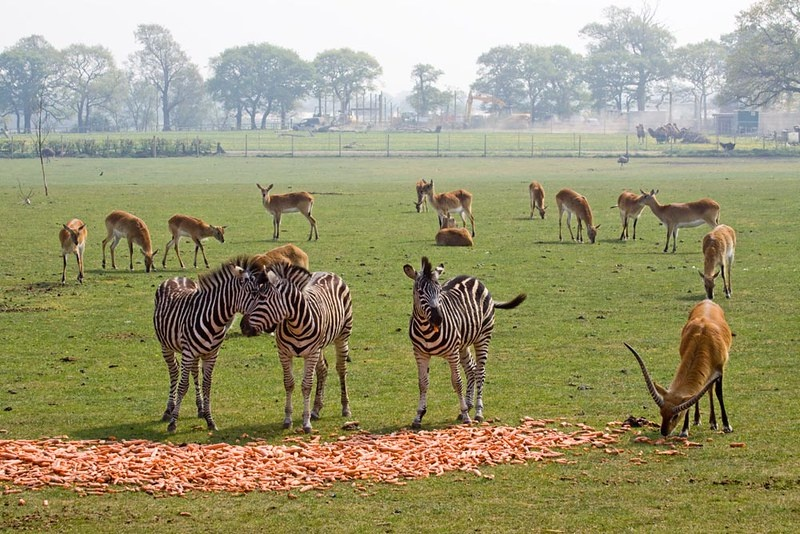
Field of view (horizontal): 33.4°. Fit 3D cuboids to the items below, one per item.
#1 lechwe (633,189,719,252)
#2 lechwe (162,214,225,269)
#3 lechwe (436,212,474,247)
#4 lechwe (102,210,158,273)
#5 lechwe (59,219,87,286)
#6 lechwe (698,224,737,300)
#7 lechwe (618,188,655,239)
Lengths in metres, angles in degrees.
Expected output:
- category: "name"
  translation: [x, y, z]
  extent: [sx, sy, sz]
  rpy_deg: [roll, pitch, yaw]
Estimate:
- category: "lechwe"
  translation: [11.852, -1.989, 56.491]
  extent: [1.821, 2.248, 3.490]
  rpy_deg: [-5, 11, -22]
- category: "lechwe"
  translation: [-8.405, -1.094, 54.256]
  extent: [2.890, 2.105, 0.854]
  rpy_deg: [7, 0, 21]
- category: "lechwe"
  translation: [2.289, -1.468, 58.336]
  extent: [0.822, 1.780, 2.329]
  rpy_deg: [4, 0, -30]
- category: "lechwe"
  translation: [-10.831, -0.972, 53.532]
  extent: [3.522, 2.493, 0.928]
  rpy_deg: [18, 11, 42]
- category: "lechwe"
  translation: [-12.972, -0.867, 52.704]
  extent: [0.997, 2.233, 3.332]
  rpy_deg: [-3, 11, -14]
- category: "lechwe"
  translation: [11.804, -0.429, 49.450]
  extent: [1.374, 3.039, 1.904]
  rpy_deg: [0, 0, 8]
- category: "lechwe"
  translation: [10.305, -2.491, 59.321]
  extent: [0.882, 2.246, 3.425]
  rpy_deg: [3, 9, -8]
